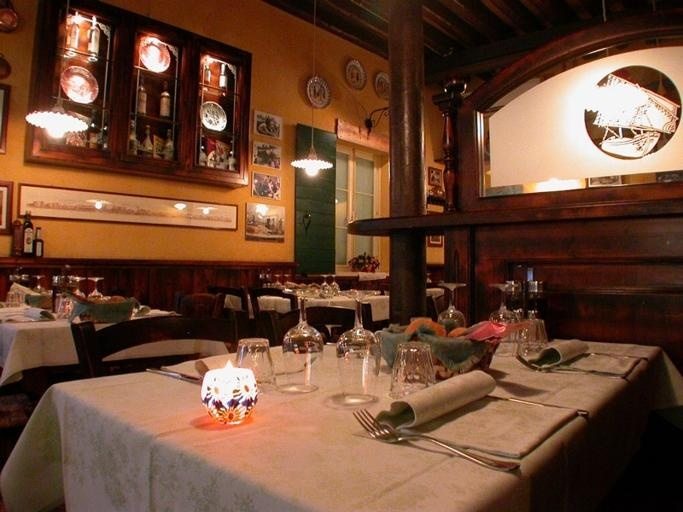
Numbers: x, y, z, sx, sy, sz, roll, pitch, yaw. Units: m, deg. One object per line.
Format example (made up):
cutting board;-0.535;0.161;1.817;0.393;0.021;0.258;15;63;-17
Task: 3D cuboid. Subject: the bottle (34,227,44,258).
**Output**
bottle;-2.740;-0.137;4.591;0.064;0.269;0.151;-4;8;-21

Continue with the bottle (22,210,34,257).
bottle;-2.799;-0.199;4.528;0.091;0.387;0.160;-5;8;-28

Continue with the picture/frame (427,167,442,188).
picture/frame;1.726;-1.462;9.306;0.173;0.369;0.599;3;8;27

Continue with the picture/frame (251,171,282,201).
picture/frame;-0.959;-0.882;6.367;0.014;0.276;0.376;-5;-7;37

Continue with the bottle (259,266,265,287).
bottle;-0.945;0.244;6.110;0.091;0.190;0.260;-2;7;-9

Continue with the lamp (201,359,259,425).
lamp;-0.209;0.273;1.011;0.091;0.117;0.095;-10;-11;30

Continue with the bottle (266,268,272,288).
bottle;-0.875;0.242;6.150;0.079;0.167;0.321;-2;7;-8

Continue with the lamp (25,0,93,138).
lamp;-2.368;-1.615;4.202;0.453;1.218;0.766;-4;8;-28

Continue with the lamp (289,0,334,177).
lamp;-0.402;-2.192;6.451;0.539;2.316;1.473;-1;7;-1

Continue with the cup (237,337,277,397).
cup;-0.185;0.232;1.120;0.082;0.108;0.110;-1;-8;-3

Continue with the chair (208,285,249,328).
chair;-0.711;0.304;3.186;0.177;0.334;0.174;-6;-11;28
